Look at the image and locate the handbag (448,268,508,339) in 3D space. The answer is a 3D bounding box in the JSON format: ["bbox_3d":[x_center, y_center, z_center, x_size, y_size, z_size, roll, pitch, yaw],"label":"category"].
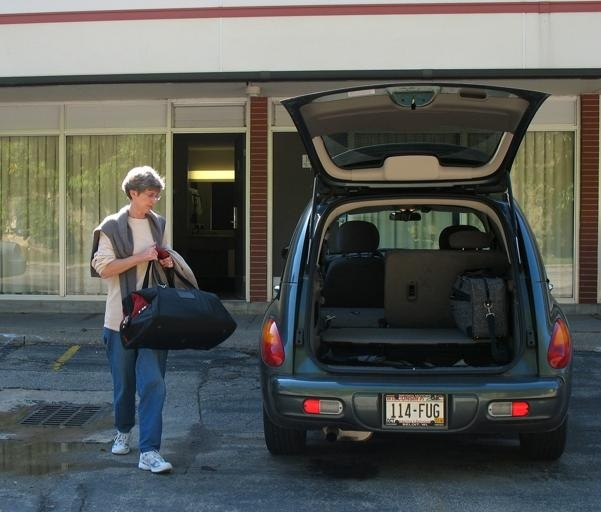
[{"bbox_3d":[1.311,0.294,5.165,0.280,0.321,0.365,-12,-5,40],"label":"handbag"}]

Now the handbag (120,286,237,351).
[{"bbox_3d":[-0.789,0.403,4.905,0.351,0.379,0.870,-23,-21,28],"label":"handbag"}]

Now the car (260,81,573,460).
[{"bbox_3d":[1.120,-0.068,6.172,2.239,2.231,3.986,-5,9,16],"label":"car"}]

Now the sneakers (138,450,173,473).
[{"bbox_3d":[-0.925,1.310,4.816,0.264,0.107,0.097,-3,-13,42],"label":"sneakers"}]
